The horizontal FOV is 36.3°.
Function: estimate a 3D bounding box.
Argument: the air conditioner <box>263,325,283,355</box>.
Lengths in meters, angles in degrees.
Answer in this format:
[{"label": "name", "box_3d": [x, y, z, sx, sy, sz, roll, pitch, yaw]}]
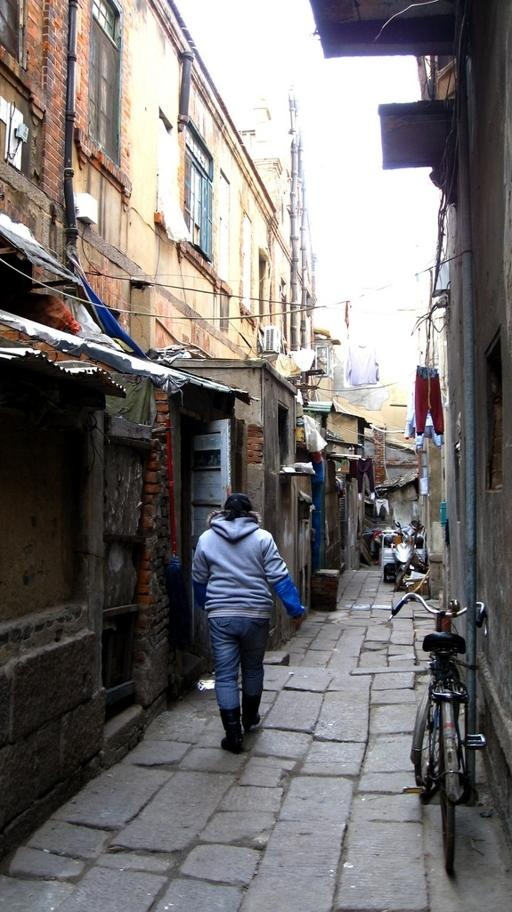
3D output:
[{"label": "air conditioner", "box_3d": [0.292, -2.222, 15.545, 0.357, 0.616, 0.897, -1, -4, -1]}]

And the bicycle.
[{"label": "bicycle", "box_3d": [0.847, 1.141, 3.535, 0.438, 0.991, 1.532, -1, -4, 10]}]

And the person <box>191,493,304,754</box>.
[{"label": "person", "box_3d": [-0.068, 0.987, 4.686, 0.544, 1.504, 0.626, 0, -3, -20]}]

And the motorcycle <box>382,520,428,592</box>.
[{"label": "motorcycle", "box_3d": [3.431, 2.220, 17.910, 0.605, 1.192, 1.939, -6, -27, -2]}]
